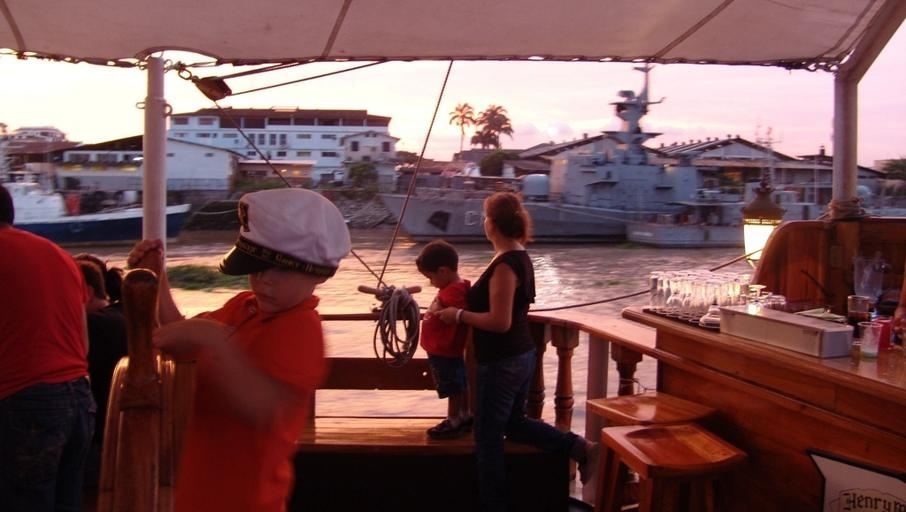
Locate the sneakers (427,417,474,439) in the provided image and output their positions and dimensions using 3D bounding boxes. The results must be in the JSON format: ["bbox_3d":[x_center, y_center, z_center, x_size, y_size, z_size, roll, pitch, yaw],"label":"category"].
[{"bbox_3d":[-0.020,1.220,6.289,0.356,0.108,0.127,-1,-1,-7],"label":"sneakers"}]

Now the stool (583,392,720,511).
[{"bbox_3d":[1.221,1.247,6.167,0.834,0.930,0.724,-1,6,-9],"label":"stool"}]

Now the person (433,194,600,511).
[{"bbox_3d":[0.405,0.643,6.110,0.867,2.148,0.551,-3,8,-26],"label":"person"}]

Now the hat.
[{"bbox_3d":[-0.837,-0.134,4.477,0.584,0.308,0.437,3,7,-23],"label":"hat"}]

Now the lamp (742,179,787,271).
[{"bbox_3d":[2.402,-0.252,6.989,0.371,0.640,0.332,2,5,2],"label":"lamp"}]
